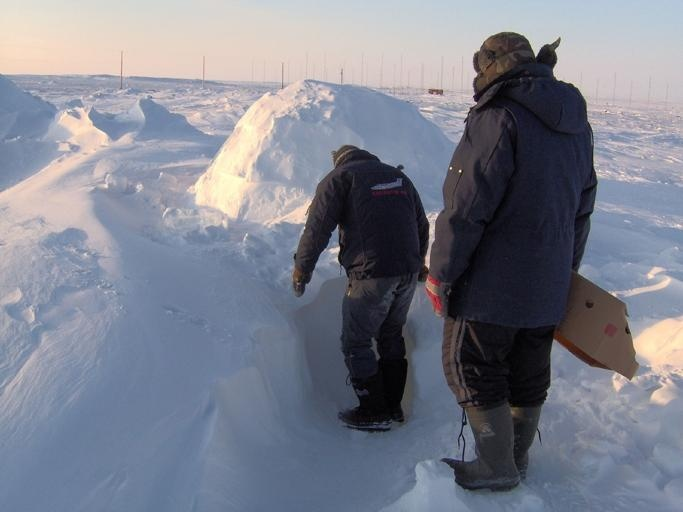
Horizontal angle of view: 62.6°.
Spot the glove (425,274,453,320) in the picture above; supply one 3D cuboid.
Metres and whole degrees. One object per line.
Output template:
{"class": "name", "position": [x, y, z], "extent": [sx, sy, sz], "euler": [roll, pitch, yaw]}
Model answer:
{"class": "glove", "position": [0.505, 0.207, 3.102], "extent": [0.081, 0.231, 0.162], "euler": [-19, -18, 17]}

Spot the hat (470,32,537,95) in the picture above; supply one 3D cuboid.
{"class": "hat", "position": [0.862, -1.027, 2.998], "extent": [0.317, 0.315, 0.202], "euler": [5, 22, 18]}

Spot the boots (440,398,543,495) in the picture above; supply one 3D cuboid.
{"class": "boots", "position": [0.872, 1.051, 3.374], "extent": [0.548, 0.683, 0.339], "euler": [5, 3, 15]}

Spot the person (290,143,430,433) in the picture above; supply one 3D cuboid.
{"class": "person", "position": [0.158, 0.207, 4.036], "extent": [0.885, 1.810, 0.865], "euler": [1, 21, 9]}

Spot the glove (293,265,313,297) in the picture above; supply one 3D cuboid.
{"class": "glove", "position": [-0.296, 0.164, 4.110], "extent": [0.130, 0.240, 0.077], "euler": [12, 24, -8]}

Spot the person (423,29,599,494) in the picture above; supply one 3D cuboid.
{"class": "person", "position": [0.888, 0.027, 3.108], "extent": [0.662, 2.326, 0.969], "euler": [12, 25, 34]}

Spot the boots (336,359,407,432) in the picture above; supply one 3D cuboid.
{"class": "boots", "position": [0.268, 0.988, 4.115], "extent": [0.538, 0.627, 0.318], "euler": [1, -2, 28]}
